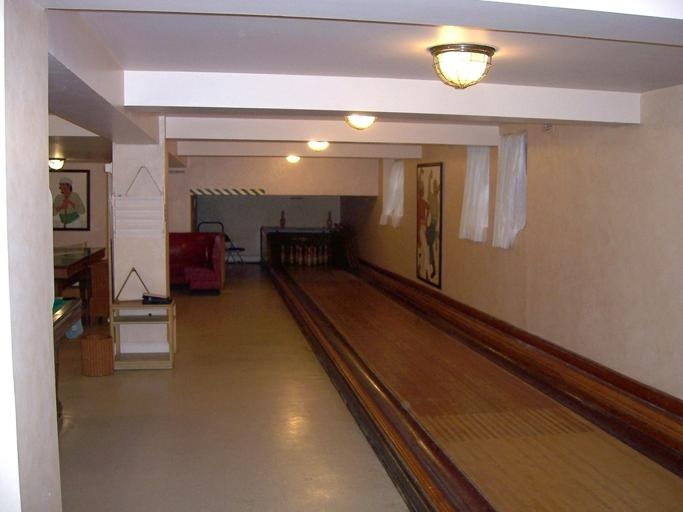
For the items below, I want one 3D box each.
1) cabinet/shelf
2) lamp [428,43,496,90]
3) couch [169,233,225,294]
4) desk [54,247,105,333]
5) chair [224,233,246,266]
[{"bbox_3d":[-2.279,0.924,5.925,0.797,0.904,0.661,1,8,-2],"label":"cabinet/shelf"},{"bbox_3d":[0.834,-1.306,3.550,0.398,0.270,0.397,12,15,38],"label":"lamp"},{"bbox_3d":[-2.866,0.102,10.326,1.082,0.968,1.123,0,0,-1],"label":"couch"},{"bbox_3d":[-3.193,0.420,6.312,0.508,0.740,1.024,0,5,-5],"label":"desk"},{"bbox_3d":[-2.930,-0.189,14.079,0.709,1.132,0.604,0,1,17],"label":"chair"}]
